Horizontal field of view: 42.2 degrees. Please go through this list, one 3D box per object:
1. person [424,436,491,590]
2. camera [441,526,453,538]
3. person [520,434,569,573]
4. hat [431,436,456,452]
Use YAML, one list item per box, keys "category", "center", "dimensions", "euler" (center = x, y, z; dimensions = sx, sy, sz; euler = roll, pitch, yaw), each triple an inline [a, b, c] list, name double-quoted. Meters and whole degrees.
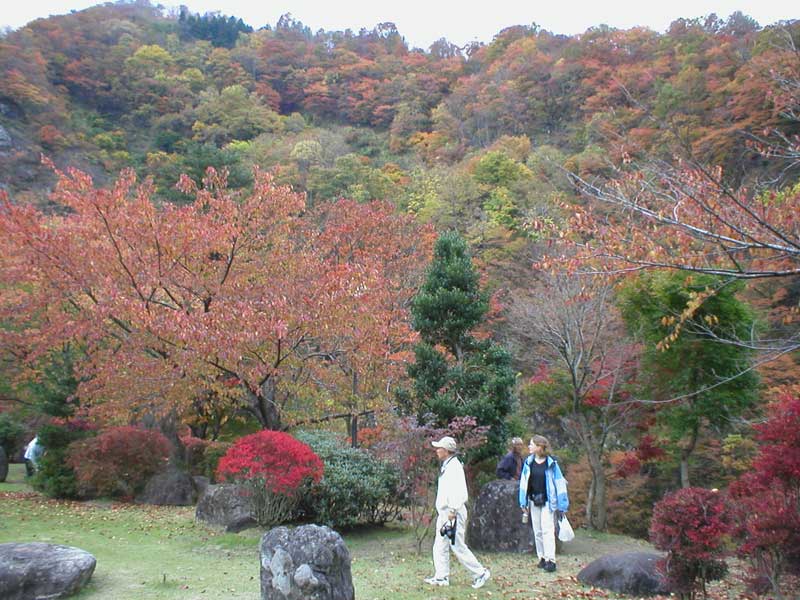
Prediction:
- category: "person"
  center: [1.473, 5.724, 28.258]
  dimensions: [1.426, 4.008, 1.055]
  euler: [5, -10, -14]
- category: "camera"
  center: [1.243, 6.207, 27.859]
  dimensions: [0.295, 0.343, 0.211]
  euler: [1, -11, 6]
- category: "person"
  center: [3.975, 5.634, 28.828]
  dimensions: [1.271, 3.626, 0.834]
  euler: [0, -10, 10]
- category: "hat"
  center: [1.240, 3.911, 28.229]
  dimensions: [0.506, 0.293, 0.366]
  euler: [6, -9, 12]
